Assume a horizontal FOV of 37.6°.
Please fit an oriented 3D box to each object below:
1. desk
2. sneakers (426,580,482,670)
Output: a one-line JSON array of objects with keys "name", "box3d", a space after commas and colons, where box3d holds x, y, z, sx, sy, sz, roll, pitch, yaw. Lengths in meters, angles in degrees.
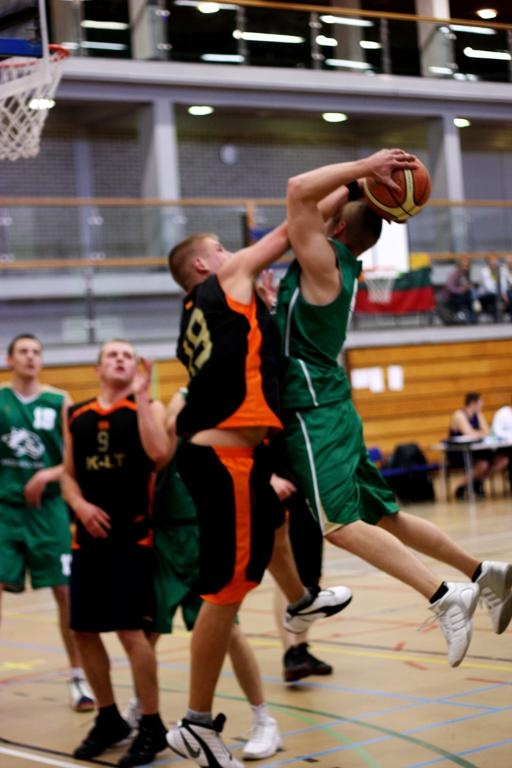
[{"name": "desk", "box3d": [3.138, 1.191, 11.133, 1.332, 0.954, 1.019, 0, -4, -43]}, {"name": "sneakers", "box3d": [0.634, 0.717, 2.380, 0.165, 0.326, 0.109, -4, 9, -2]}]
